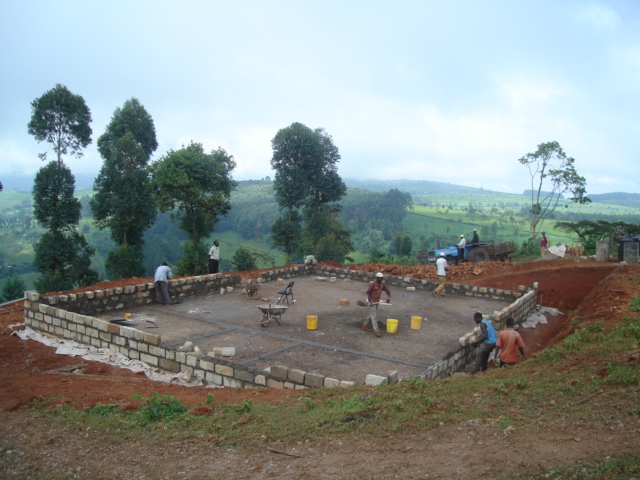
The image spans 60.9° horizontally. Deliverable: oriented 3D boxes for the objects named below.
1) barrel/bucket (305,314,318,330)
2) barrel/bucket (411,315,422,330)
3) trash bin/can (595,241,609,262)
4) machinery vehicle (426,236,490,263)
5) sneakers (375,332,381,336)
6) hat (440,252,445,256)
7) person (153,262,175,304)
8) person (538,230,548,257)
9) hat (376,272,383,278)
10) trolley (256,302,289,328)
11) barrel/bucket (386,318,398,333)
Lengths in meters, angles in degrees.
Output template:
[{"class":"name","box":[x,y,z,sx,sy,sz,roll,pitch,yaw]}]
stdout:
[{"class":"barrel/bucket","box":[-0.257,2.948,19.396,0.426,0.466,0.434,0,-3,0]},{"class":"barrel/bucket","box":[3.513,3.001,19.739,0.425,0.357,0.416,4,-2,0]},{"class":"trash bin/can","box":[15.316,0.535,29.505,0.616,1.094,0.412,2,15,28]},{"class":"machinery vehicle","box":[8.804,0.777,34.242,3.584,1.349,2.014,-1,-6,-18]},{"class":"sneakers","box":[1.999,3.203,18.686,0.196,0.170,0.238,-5,13,2]},{"class":"hat","box":[6.531,0.714,29.071,0.181,0.181,0.291,4,8,15]},{"class":"person","box":[-6.443,1.793,22.500,0.883,1.846,0.561,2,15,26]},{"class":"person","box":[14.326,0.258,34.761,0.377,1.643,1.469,0,14,21]},{"class":"hat","box":[1.936,1.128,17.555,0.211,0.105,0.318,-1,-3,6]},{"class":"trolley","box":[-1.727,2.695,19.484,0.860,0.573,0.817,1,-9,2]},{"class":"barrel/bucket","box":[2.572,3.029,19.285,0.399,0.362,0.436,1,1,0]}]
